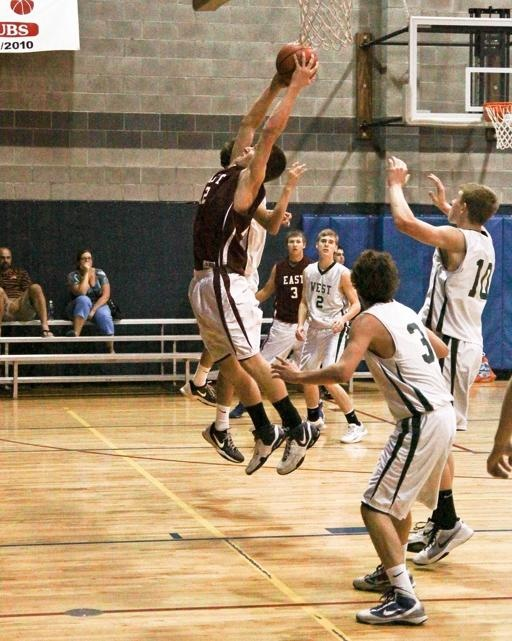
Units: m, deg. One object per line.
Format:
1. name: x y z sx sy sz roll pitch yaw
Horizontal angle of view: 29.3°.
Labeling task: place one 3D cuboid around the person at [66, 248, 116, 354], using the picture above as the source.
1. person: -1.662 -0.273 9.826 0.436 0.830 0.530 0 7 -11

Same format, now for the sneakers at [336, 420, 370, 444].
1. sneakers: 0.696 0.821 7.031 0.088 0.116 0.248 -1 4 34

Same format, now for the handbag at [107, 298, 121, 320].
1. handbag: -1.497 -0.113 9.960 0.209 0.187 0.143 5 -12 -3

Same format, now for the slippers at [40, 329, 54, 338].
1. slippers: -2.045 0.131 9.553 0.081 0.070 0.200 0 -1 -28

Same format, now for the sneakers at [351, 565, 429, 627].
1. sneakers: 0.473 0.979 3.397 0.188 0.118 0.351 4 0 0
